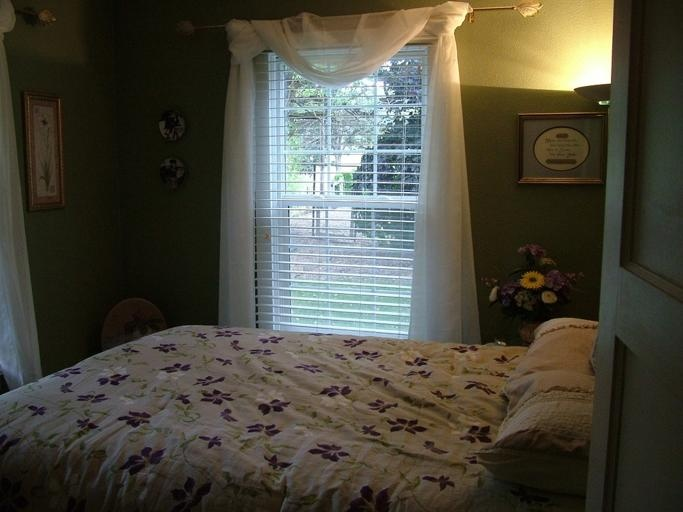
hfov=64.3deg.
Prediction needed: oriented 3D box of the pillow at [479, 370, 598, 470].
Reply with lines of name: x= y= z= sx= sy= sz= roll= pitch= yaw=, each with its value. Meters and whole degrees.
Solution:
pillow: x=0.608 y=0.476 z=1.653 sx=0.271 sy=0.180 sz=0.457 roll=7 pitch=14 yaw=25

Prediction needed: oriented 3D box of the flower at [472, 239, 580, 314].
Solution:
flower: x=1.074 y=0.118 z=3.022 sx=0.466 sy=0.381 sz=0.450 roll=-2 pitch=2 yaw=-42

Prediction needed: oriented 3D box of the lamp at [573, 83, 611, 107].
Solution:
lamp: x=1.390 y=-0.899 z=3.031 sx=0.183 sy=0.116 sz=0.276 roll=6 pitch=14 yaw=21

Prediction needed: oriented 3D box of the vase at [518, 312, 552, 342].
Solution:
vase: x=1.009 y=0.377 z=2.909 sx=0.177 sy=0.189 sz=0.171 roll=2 pitch=5 yaw=30
